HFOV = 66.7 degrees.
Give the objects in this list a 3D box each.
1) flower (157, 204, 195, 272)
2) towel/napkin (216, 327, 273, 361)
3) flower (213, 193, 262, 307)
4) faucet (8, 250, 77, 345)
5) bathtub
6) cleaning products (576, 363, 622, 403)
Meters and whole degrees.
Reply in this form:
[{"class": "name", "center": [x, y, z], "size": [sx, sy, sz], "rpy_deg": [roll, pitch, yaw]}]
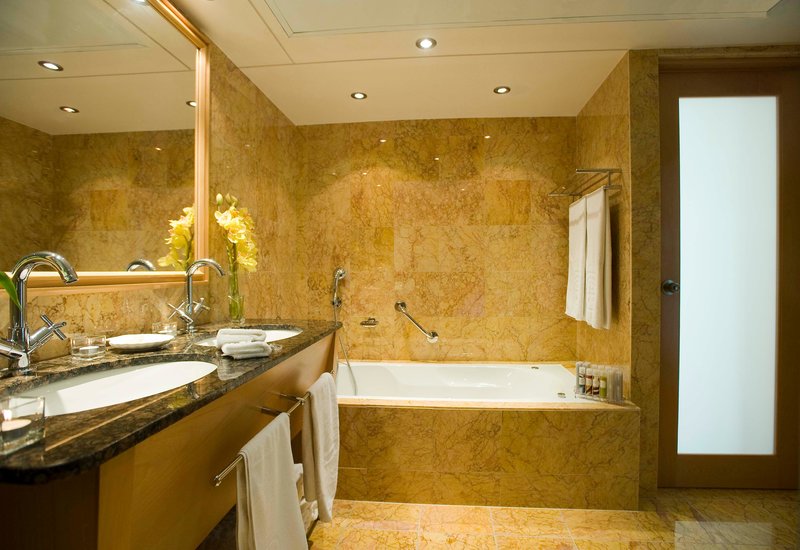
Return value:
[{"class": "flower", "center": [-1.170, -0.239, 3.316], "size": [0.127, 0.265, 0.151], "rpy_deg": [-21, -10, 8]}, {"class": "towel/napkin", "center": [-0.715, 0.310, 2.782], "size": [0.235, 0.122, 0.258], "rpy_deg": [1, -2, -24]}, {"class": "flower", "center": [-0.937, -0.109, 3.493], "size": [0.263, 0.675, 0.253], "rpy_deg": [0, -3, -11]}, {"class": "faucet", "center": [-1.467, 0.099, 2.454], "size": [0.372, 0.390, 0.133], "rpy_deg": [0, -1, 35]}, {"class": "bathtub", "center": [0.384, 0.767, 4.362], "size": [1.256, 0.235, 0.591], "rpy_deg": [0, 2, 5]}, {"class": "cleaning products", "center": [1.187, 0.644, 3.698], "size": [0.187, 0.256, 0.330], "rpy_deg": [7, -7, -42]}]
